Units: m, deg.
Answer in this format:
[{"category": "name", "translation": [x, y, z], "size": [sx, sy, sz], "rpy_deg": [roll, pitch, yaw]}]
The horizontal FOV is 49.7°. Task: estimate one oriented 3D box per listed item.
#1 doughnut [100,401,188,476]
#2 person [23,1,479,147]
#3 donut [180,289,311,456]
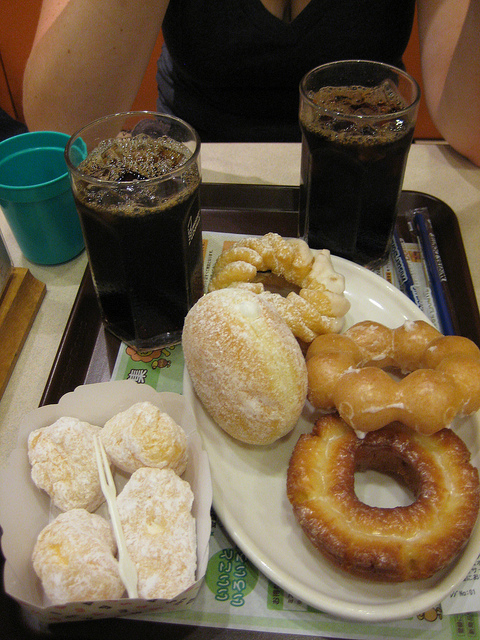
[{"category": "doughnut", "translation": [-0.094, 0.116, 0.549], "size": [0.093, 0.066, 0.085], "rpy_deg": [-4, 30, -5]}, {"category": "person", "translation": [0.015, -0.482, 1.144], "size": [0.804, 0.117, 0.456], "rpy_deg": [2, 70, 1]}, {"category": "donut", "translation": [0.012, 0.051, 0.578], "size": [0.100, 0.121, 0.168], "rpy_deg": [-28, 88, -40]}]
